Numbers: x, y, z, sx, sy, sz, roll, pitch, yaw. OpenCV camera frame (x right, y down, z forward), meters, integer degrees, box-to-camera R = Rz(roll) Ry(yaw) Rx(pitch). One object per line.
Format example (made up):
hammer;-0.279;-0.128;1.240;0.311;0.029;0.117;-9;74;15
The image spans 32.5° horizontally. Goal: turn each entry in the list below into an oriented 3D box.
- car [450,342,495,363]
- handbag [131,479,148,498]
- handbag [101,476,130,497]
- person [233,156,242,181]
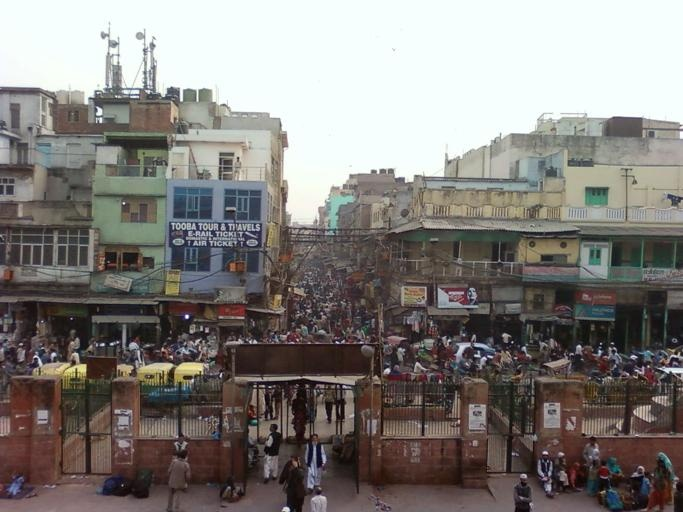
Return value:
car;6.902;4.935;61.193;1.505;0.791;1.035;-5;7;-2
handbag;-8.339;9.659;48.758;0.618;0.620;0.629;-3;1;15
handbag;-9.404;9.530;48.455;0.739;0.355;0.876;5;1;-4
person;-6.002;-5.023;67.320;0.465;1.520;1.855;1;-3;-5
